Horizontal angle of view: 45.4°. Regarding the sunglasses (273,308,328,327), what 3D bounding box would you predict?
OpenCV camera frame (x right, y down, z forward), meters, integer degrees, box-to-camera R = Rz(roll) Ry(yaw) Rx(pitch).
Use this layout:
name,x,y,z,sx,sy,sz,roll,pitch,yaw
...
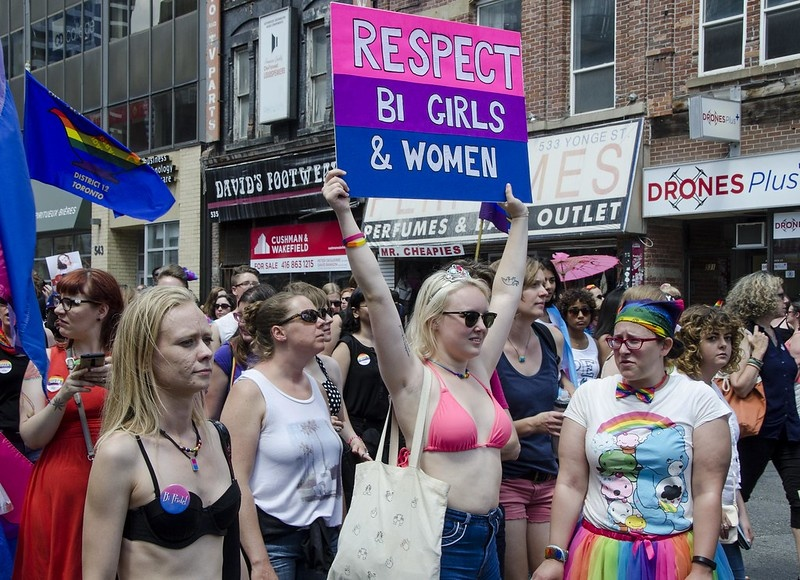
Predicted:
name,x,y,z,sx,sy,sz,roll,pitch,yaw
sunglasses,-0.641,0.182,6.298,0.152,0.053,0.164,-23,-11,15

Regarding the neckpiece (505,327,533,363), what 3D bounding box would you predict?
name,x,y,z,sx,sy,sz,roll,pitch,yaw
neckpiece,0.895,0.425,7.156,0.174,0.294,0.116,-4,1,-16

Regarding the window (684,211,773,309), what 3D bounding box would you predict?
name,x,y,z,sx,sy,sz,roll,pitch,yaw
window,5.325,-0.318,15.290,1.528,0.167,2.042,1,-39,18

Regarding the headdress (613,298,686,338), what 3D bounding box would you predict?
name,x,y,z,sx,sy,sz,roll,pitch,yaw
headdress,1.555,0.196,5.879,0.269,0.210,0.257,-11,-6,25

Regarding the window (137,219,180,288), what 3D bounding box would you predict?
name,x,y,z,sx,sy,sz,roll,pitch,yaw
window,-5.421,-0.903,21.307,0.073,1.945,1.471,4,-5,-43

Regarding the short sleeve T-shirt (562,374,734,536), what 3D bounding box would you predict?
name,x,y,z,sx,sy,sz,roll,pitch,yaw
short sleeve T-shirt,1.533,0.976,6.081,1.242,1.460,0.756,1,-2,17

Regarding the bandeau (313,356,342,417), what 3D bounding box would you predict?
name,x,y,z,sx,sy,sz,roll,pitch,yaw
bandeau,-0.551,0.718,7.001,0.213,0.345,0.177,-5,6,35

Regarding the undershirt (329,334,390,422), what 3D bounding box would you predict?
name,x,y,z,sx,sy,sz,roll,pitch,yaw
undershirt,-0.255,0.752,8.247,0.483,0.796,0.380,0,2,-31
